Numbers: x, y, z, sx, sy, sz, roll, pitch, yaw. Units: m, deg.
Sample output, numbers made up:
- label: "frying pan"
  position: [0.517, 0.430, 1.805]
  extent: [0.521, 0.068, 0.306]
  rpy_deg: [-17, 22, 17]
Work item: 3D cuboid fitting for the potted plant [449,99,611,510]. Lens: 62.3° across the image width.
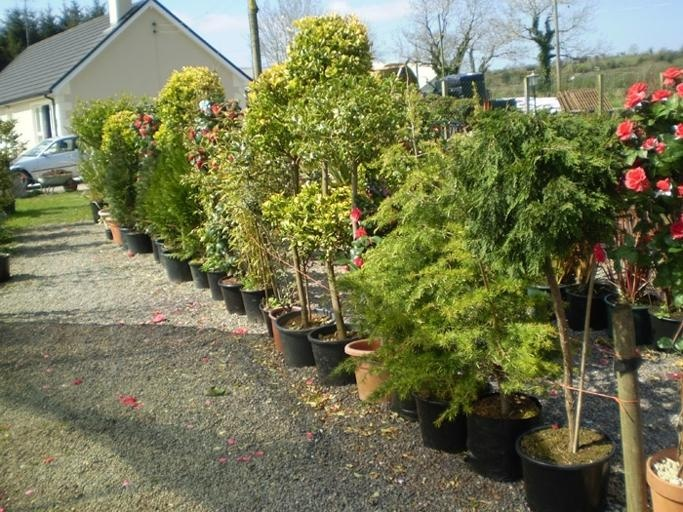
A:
- label: "potted plant"
  position: [1.094, 0.340, 3.170]
  extent: [0.824, 2.302, 0.416]
  rpy_deg: [-2, 11, 24]
